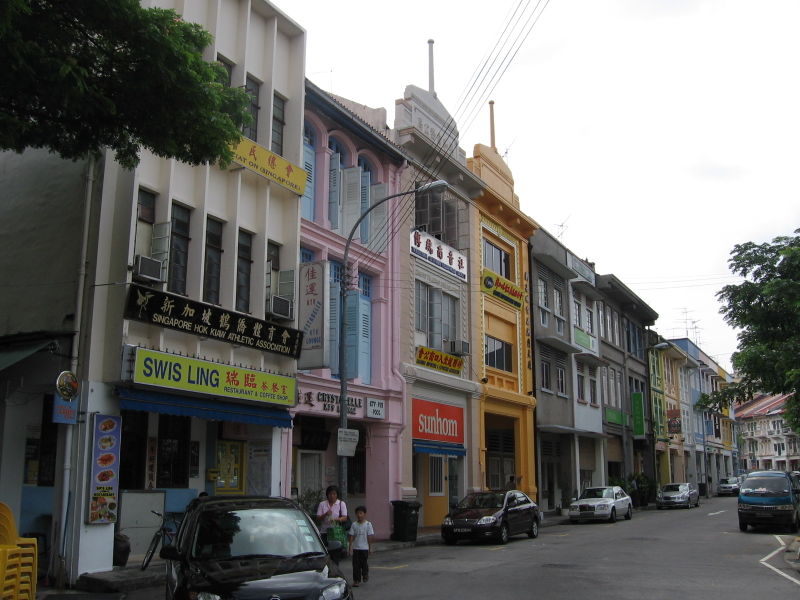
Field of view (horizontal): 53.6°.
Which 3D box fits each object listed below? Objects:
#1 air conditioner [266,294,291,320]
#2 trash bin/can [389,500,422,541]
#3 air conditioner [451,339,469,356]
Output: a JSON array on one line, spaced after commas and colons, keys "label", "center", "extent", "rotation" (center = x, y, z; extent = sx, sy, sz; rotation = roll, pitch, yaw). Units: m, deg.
[{"label": "air conditioner", "center": [-3.481, 0.241, 22.808], "extent": [0.510, 0.793, 1.008], "rotation": [-6, -13, 25]}, {"label": "trash bin/can", "center": [0.105, 7.377, 26.305], "extent": [1.089, 1.695, 1.041], "rotation": [-17, -23, 35]}, {"label": "air conditioner", "center": [2.489, 1.946, 32.321], "extent": [0.455, 0.639, 0.867], "rotation": [-2, -5, 41]}]
